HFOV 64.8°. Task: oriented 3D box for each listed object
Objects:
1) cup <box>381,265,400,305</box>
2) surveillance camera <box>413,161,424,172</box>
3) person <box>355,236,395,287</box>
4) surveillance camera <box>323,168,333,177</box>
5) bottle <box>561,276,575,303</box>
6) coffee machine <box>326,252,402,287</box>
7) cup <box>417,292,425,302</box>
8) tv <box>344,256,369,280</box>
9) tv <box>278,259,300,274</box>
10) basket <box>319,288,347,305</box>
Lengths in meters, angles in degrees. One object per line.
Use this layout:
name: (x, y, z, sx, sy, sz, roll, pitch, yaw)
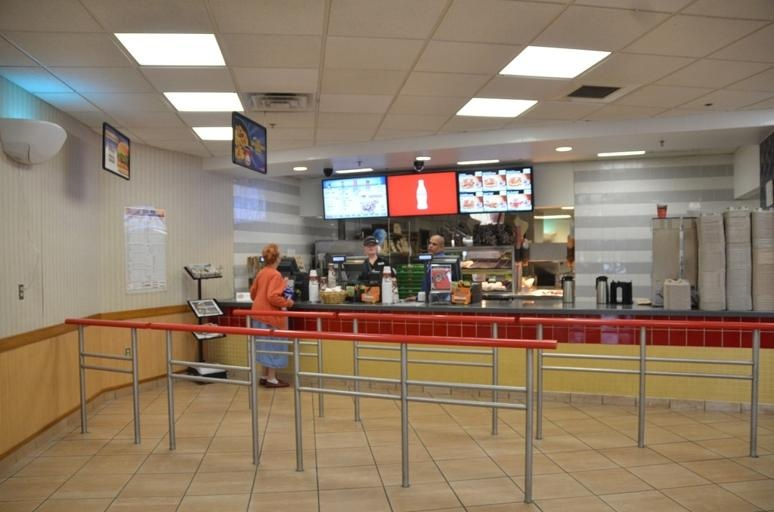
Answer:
cup: (0.037, 0.409, 8.793, 0.241, 0.518, 0.358, -2, 10, -4)
surveillance camera: (0.510, -1.447, 9.784, 0.171, 0.125, 0.168, -1, -1, 1)
person: (-0.205, 0.080, 9.806, 0.699, 1.002, 0.401, -8, -36, 6)
surveillance camera: (-1.009, -1.420, 10.255, 0.151, 0.109, 0.153, -1, -7, -1)
bottle: (2.545, 0.478, 8.551, 0.120, 0.342, 0.183, -1, 11, 1)
coffee machine: (-0.400, 0.232, 9.781, 0.706, 0.411, 0.340, 2, 8, 21)
cup: (0.488, 0.599, 8.962, 0.142, 0.166, 0.131, 3, -2, 0)
tv: (-0.459, 0.175, 9.469, 0.512, 0.427, 0.350, 1, -12, 8)
tv: (-1.525, 0.145, 9.403, 0.251, 0.196, 0.250, -1, 3, -28)
basket: (-0.801, 0.585, 8.975, 0.352, 0.196, 0.306, 1, 10, 9)
